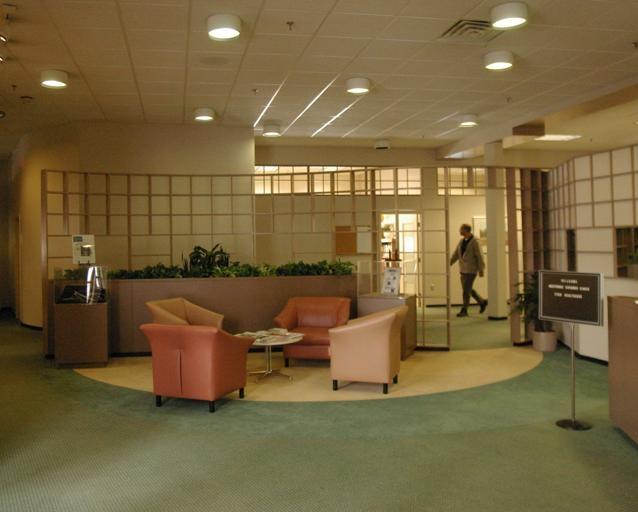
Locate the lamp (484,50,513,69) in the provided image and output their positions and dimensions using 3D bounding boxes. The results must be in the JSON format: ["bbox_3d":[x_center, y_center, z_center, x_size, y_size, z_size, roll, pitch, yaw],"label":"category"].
[{"bbox_3d":[2.376,-2.567,6.670,0.362,0.144,0.363,0,4,14],"label":"lamp"}]

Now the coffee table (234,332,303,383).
[{"bbox_3d":[-0.679,1.318,6.505,0.946,0.491,0.838,-4,-1,-11],"label":"coffee table"}]

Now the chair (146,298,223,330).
[{"bbox_3d":[-1.833,0.810,6.946,0.692,0.713,0.646,-3,3,15],"label":"chair"}]

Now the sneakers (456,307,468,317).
[{"bbox_3d":[3.195,1.269,11.352,0.314,0.189,0.143,1,2,11],"label":"sneakers"}]

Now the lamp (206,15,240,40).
[{"bbox_3d":[-1.050,-2.537,5.606,0.367,0.172,0.260,1,4,32],"label":"lamp"}]

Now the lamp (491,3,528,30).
[{"bbox_3d":[2.059,-2.577,5.453,0.347,0.185,0.294,2,4,36],"label":"lamp"}]

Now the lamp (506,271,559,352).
[{"bbox_3d":[3.424,0.870,8.076,0.734,1.244,1.344,0,4,24],"label":"lamp"}]

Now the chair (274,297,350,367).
[{"bbox_3d":[-0.058,1.091,7.517,1.118,0.816,0.878,0,5,6],"label":"chair"}]

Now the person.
[{"bbox_3d":[3.367,0.326,11.306,0.773,2.049,1.131,0,4,16],"label":"person"}]

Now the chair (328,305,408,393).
[{"bbox_3d":[0.545,1.158,6.518,1.111,1.058,1.009,1,-2,13],"label":"chair"}]

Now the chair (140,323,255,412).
[{"bbox_3d":[-1.350,1.233,5.816,1.133,0.826,0.923,-2,-5,16],"label":"chair"}]

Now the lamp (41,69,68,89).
[{"bbox_3d":[-3.660,-2.417,6.945,0.255,0.097,0.244,-4,-6,22],"label":"lamp"}]

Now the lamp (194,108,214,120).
[{"bbox_3d":[-2.011,-2.480,8.894,0.223,0.083,0.206,-3,-6,8],"label":"lamp"}]

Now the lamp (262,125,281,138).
[{"bbox_3d":[-0.931,-2.438,9.946,0.239,0.090,0.226,-4,-9,17],"label":"lamp"}]
